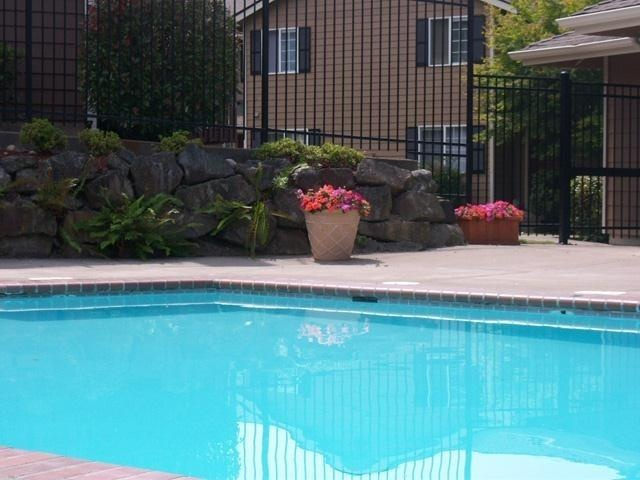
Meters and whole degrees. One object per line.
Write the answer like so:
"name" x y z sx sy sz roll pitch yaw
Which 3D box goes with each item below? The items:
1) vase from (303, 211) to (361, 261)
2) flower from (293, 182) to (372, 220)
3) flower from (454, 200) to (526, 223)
"vase" 0.188 -0.081 12.253 0.695 0.675 0.753 0 -4 -7
"flower" 0.220 -0.597 12.223 1.021 0.414 0.376 1 10 0
"flower" 3.219 -0.556 15.378 1.265 0.387 0.351 3 10 11
